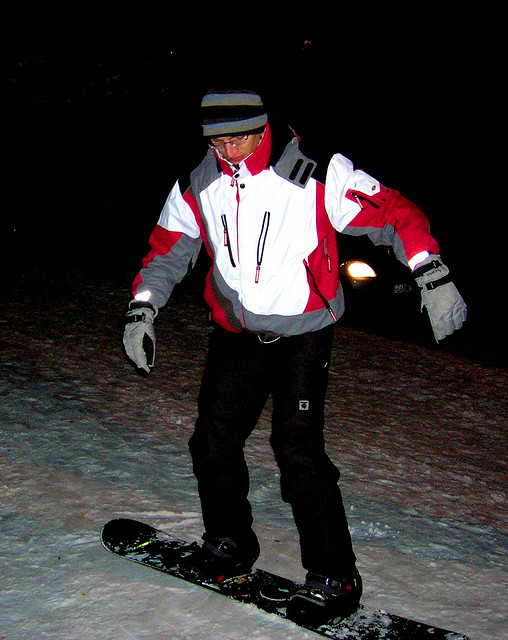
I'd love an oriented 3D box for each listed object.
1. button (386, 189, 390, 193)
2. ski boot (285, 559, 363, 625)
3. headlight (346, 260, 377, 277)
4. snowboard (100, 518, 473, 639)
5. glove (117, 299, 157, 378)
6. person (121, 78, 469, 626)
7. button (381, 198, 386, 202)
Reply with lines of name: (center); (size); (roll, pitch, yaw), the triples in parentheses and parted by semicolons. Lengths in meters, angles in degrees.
button: (0.400, -0.391, 1.853); (0.012, 0.010, 0.024); (12, 13, 3)
ski boot: (0.222, 0.838, 1.907); (0.217, 0.130, 0.202); (12, 13, 6)
headlight: (0.331, -0.161, 1.933); (0.034, 0.054, 0.101); (-1, 17, -43)
snowboard: (0.073, 0.856, 2.016); (1.027, 0.046, 0.214); (10, 11, 26)
glove: (-0.389, 0.054, 2.152); (0.108, 0.272, 0.094); (-3, -27, -29)
person: (0.027, 0.088, 2.024); (1.071, 1.589, 0.435); (21, 16, 33)
button: (0.382, -0.361, 1.834); (0.014, 0.011, 0.008); (13, 13, 8)
